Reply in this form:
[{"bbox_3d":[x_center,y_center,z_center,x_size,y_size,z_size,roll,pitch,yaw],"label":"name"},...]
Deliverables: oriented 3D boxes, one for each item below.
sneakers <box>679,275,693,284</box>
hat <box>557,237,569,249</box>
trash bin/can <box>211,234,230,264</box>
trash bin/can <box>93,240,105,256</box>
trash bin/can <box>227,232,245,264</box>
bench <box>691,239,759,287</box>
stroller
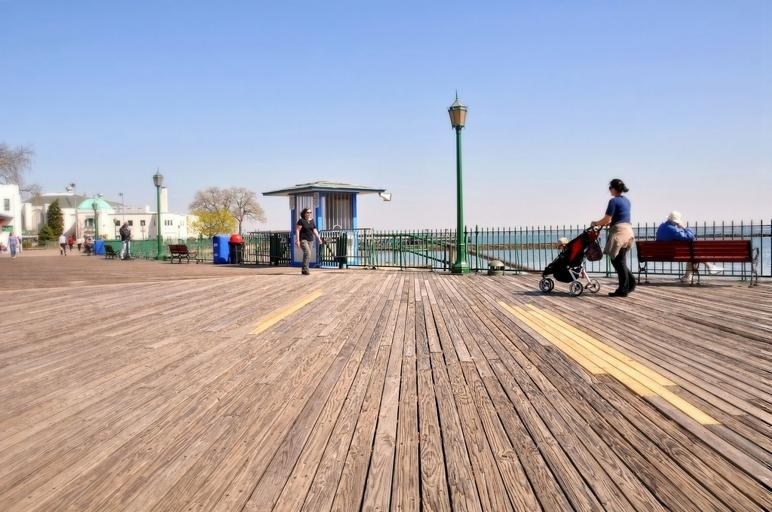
[{"bbox_3d":[6.163,0.478,13.610,0.151,0.225,0.489,2,12,19],"label":"sneakers"},{"bbox_3d":[3.382,-0.236,12.704,0.159,0.155,0.248,36,15,26],"label":"hat"},{"bbox_3d":[-6.743,-0.251,27.167,0.663,1.110,1.451,-4,12,-14],"label":"trash bin/can"},{"bbox_3d":[-19.058,-0.510,44.010,0.813,1.251,0.800,-2,10,-41],"label":"trash bin/can"},{"bbox_3d":[-5.943,-0.244,26.440,0.595,1.193,1.107,-4,12,-14],"label":"trash bin/can"},{"bbox_3d":[6.772,0.117,13.116,0.640,1.080,1.678,13,7,28],"label":"bench"},{"bbox_3d":[3.318,0.030,11.854,0.680,1.324,1.071,-8,11,-43],"label":"stroller"}]
